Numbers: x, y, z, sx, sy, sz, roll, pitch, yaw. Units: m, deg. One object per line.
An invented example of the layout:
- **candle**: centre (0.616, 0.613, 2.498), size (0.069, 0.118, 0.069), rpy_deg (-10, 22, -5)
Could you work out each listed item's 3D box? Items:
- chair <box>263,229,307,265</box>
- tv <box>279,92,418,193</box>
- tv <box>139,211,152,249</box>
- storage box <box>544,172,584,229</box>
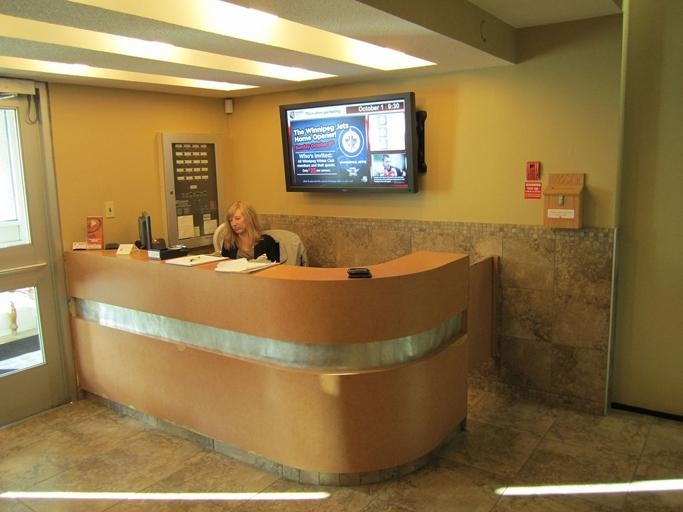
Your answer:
- **chair**: centre (-0.511, -0.079, 5.304), size (0.342, 0.415, 0.384), rpy_deg (-2, -2, 32)
- **tv**: centre (0.038, -1.088, 5.321), size (1.499, 0.902, 0.074), rpy_deg (4, 14, 30)
- **tv**: centre (-1.826, -0.225, 4.960), size (0.130, 0.367, 0.381), rpy_deg (-5, -3, -24)
- **storage box**: centre (1.868, -0.464, 4.475), size (0.320, 0.439, 0.168), rpy_deg (2, 13, 23)
